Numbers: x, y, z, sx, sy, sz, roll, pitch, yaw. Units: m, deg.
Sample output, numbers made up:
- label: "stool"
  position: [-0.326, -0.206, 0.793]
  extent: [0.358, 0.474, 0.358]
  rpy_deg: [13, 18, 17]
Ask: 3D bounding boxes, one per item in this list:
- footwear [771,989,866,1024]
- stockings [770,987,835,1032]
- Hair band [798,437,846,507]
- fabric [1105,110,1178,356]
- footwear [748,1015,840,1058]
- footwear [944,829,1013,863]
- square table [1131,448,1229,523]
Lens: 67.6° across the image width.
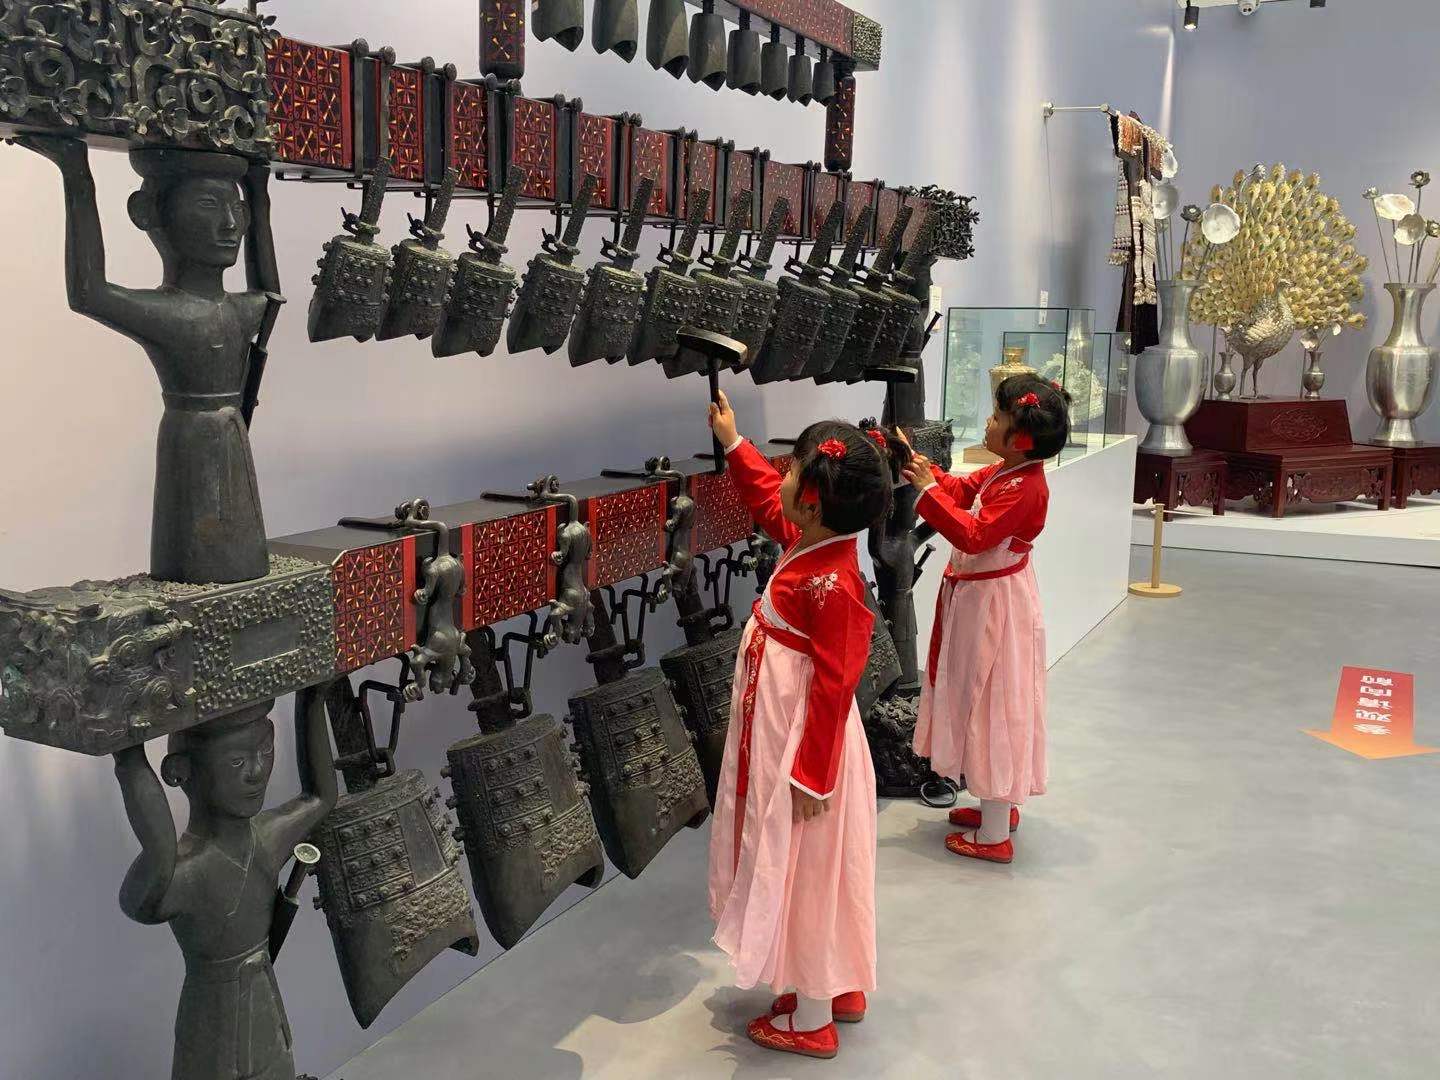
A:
- label: "footwear"
  position: [0.256, 1.200, 2.843]
  extent: [0.257, 0.113, 0.098]
  rpy_deg: [2, 1, -5]
- label: "stockings"
  position: [0.213, 1.170, 2.711]
  extent: [0.163, 0.064, 0.101]
  rpy_deg: [-2, 50, 6]
- label: "Hair band"
  position: [0.238, -0.169, 2.523]
  extent: [0.056, 0.151, 0.111]
  rpy_deg: [21, -23, 2]
- label: "fabric"
  position: [3.300, -2.387, 8.478]
  extent: [0.566, 2.502, 2.289]
  rpy_deg: [1, 10, 23]
- label: "footwear"
  position: [0.178, 1.225, 2.670]
  extent: [0.164, 0.067, 0.102]
  rpy_deg: [8, 7, 16]
- label: "footwear"
  position: [0.874, 0.993, 3.622]
  extent: [0.176, 0.070, 0.103]
  rpy_deg: [7, 7, 16]
- label: "square table"
  position: [3.695, -0.481, 8.507]
  extent: [0.699, 0.563, 0.683]
  rpy_deg: [-7, 12, -36]
